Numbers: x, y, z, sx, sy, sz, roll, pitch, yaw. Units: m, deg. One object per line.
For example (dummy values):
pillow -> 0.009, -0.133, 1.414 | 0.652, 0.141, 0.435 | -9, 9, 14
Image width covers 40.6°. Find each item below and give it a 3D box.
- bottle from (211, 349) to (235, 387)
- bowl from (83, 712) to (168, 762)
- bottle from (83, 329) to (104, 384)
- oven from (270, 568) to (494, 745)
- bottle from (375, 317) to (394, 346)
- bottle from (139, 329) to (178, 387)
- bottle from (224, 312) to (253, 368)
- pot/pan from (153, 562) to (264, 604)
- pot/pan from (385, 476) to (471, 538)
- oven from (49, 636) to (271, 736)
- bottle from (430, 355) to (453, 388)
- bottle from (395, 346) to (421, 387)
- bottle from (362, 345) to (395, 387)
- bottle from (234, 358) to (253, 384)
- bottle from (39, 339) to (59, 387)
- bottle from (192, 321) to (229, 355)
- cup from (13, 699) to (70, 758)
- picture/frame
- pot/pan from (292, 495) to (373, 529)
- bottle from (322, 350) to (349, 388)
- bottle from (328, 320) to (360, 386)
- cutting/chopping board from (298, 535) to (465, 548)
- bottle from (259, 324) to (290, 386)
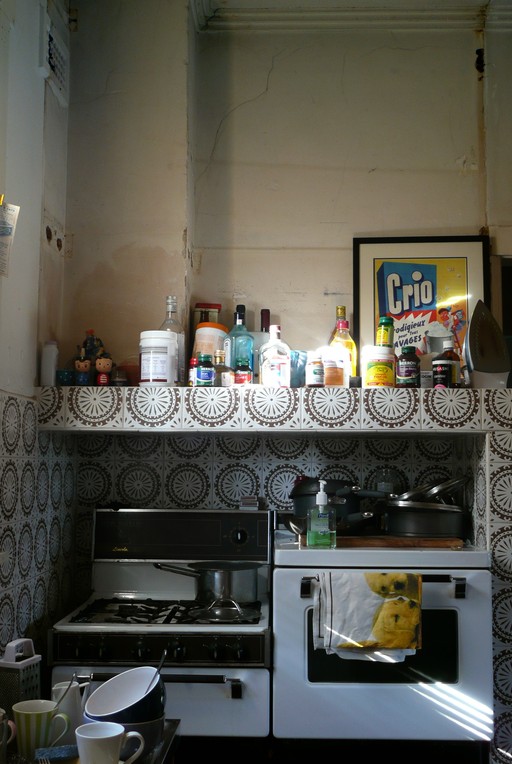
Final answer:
bottle -> -0.090, -0.039, 2.046 | 0.060, 0.113, 0.184 | 0, -3, -4
bowl -> -0.196, 0.569, 1.112 | 0.102, 0.071, 0.092 | -1, 1, -22
bottle -> -0.481, -0.079, 2.071 | 0.061, 0.178, 0.171 | 1, -4, -12
oven -> 0.330, 0.645, 1.862 | 0.563, 0.466, 0.361 | -1, 8, 9
bottle -> 0.381, -0.150, 2.049 | 0.048, 0.108, 0.112 | -1, -4, 9
bottle -> -0.273, -0.063, 2.007 | 0.162, 0.163, 0.163 | 2, -2, -26
bottle -> -0.047, -0.116, 2.198 | 0.083, 0.243, 0.088 | -1, -9, 0
pot/pan -> -0.131, 0.527, 1.944 | 0.254, 0.112, 0.147 | 0, -4, -7
pot/pan -> 0.490, 0.353, 2.018 | 0.197, 0.142, 0.166 | 0, -7, 12
oven -> -0.162, 0.749, 1.851 | 0.495, 0.221, 0.297 | -5, 13, 15
bottle -> 0.529, -0.031, 1.959 | 0.068, 0.137, 0.072 | 1, -4, 0
bottle -> 0.445, -0.045, 1.996 | 0.087, 0.123, 0.073 | 0, -4, -8
bottle -> 0.354, -0.044, 2.033 | 0.099, 0.120, 0.104 | 1, -8, -5
bottle -> -0.034, -0.031, 1.997 | 0.050, 0.077, 0.076 | 0, -4, -2
bottle -> -0.577, -0.051, 1.938 | 0.047, 0.125, 0.051 | 0, -4, 0
bottle -> -0.135, -0.132, 2.152 | 0.092, 0.110, 0.091 | 4, -2, -37
cup -> -0.360, 0.571, 1.152 | 0.095, 0.094, 0.064 | 9, -18, -27
picture/frame -> 0.542, -0.248, 2.232 | 0.430, 0.506, 0.034 | 1, -8, 1
pot/pan -> 0.216, 0.357, 1.984 | 0.180, 0.076, 0.111 | 1, -9, -3
bottle -> 0.233, -0.037, 2.032 | 0.093, 0.113, 0.093 | 3, -4, -29
bottle -> 0.269, -0.083, 2.141 | 0.079, 0.208, 0.082 | 2, -7, 0
cutting/chopping board -> 0.343, 0.439, 1.920 | 0.448, 0.031, 0.184 | 0, -3, 0
bottle -> 0.058, -0.057, 2.025 | 0.085, 0.222, 0.075 | 1, -15, -3
